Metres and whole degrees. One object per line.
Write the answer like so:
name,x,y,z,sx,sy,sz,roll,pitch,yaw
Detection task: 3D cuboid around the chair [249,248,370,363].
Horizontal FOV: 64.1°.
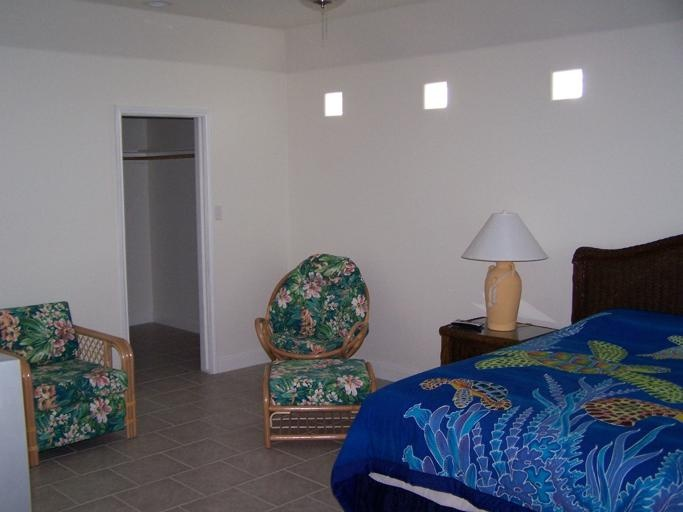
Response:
chair,-0.206,0.485,4.896,0.854,0.841,0.921,6,17,18
